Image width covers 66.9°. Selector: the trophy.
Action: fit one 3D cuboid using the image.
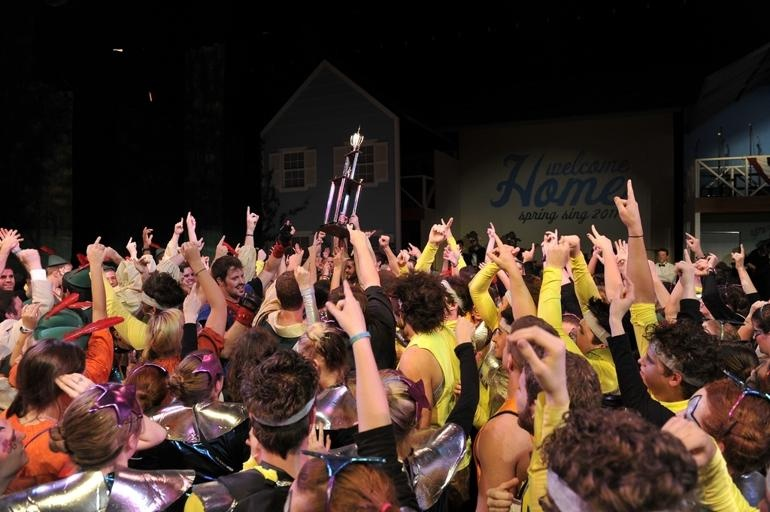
[{"bbox_3d":[-0.427,-0.964,7.160,0.346,1.179,0.352,7,5,19],"label":"trophy"}]
